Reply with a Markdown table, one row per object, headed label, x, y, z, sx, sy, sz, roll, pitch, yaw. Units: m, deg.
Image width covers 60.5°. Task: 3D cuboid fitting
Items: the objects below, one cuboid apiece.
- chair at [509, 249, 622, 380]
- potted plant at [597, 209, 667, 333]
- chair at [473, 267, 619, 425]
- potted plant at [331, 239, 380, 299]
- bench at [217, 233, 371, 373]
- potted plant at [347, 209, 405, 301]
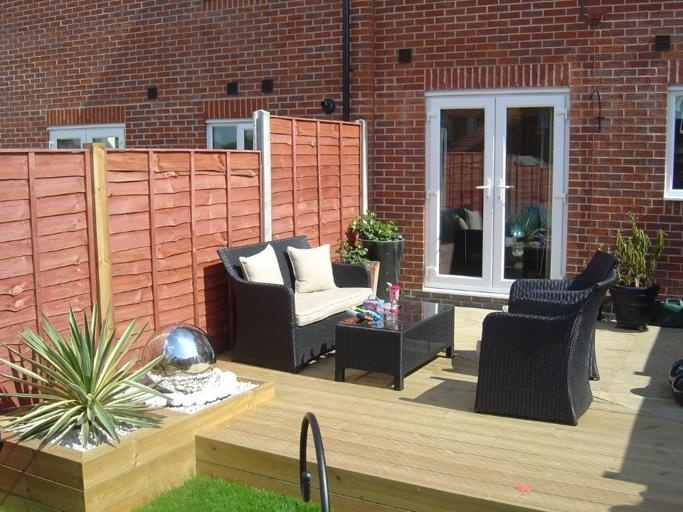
| label | x | y | z | sx | sy | sz | roll | pitch | yaw |
| --- | --- | --- | --- | --- | --- | --- | --- | --- | --- |
| chair | 1.981 | 0.467 | 5.344 | 1.180 | 1.348 | 1.062 | 0 | 3 | 23 |
| potted plant | 3.489 | 0.204 | 6.922 | 0.611 | 1.161 | 0.523 | 0 | 4 | 27 |
| chair | 1.611 | 0.588 | 4.704 | 1.030 | 1.090 | 0.977 | -2 | 17 | 9 |
| potted plant | 0.157 | 0.168 | 7.063 | 0.689 | 0.982 | 0.501 | 0 | 14 | -2 |
| bench | -0.497 | 0.427 | 6.230 | 1.091 | 1.195 | 1.465 | 5 | 7 | 34 |
| potted plant | 0.547 | 0.052 | 8.092 | 0.578 | 0.835 | 0.554 | -9 | 1 | 36 |
